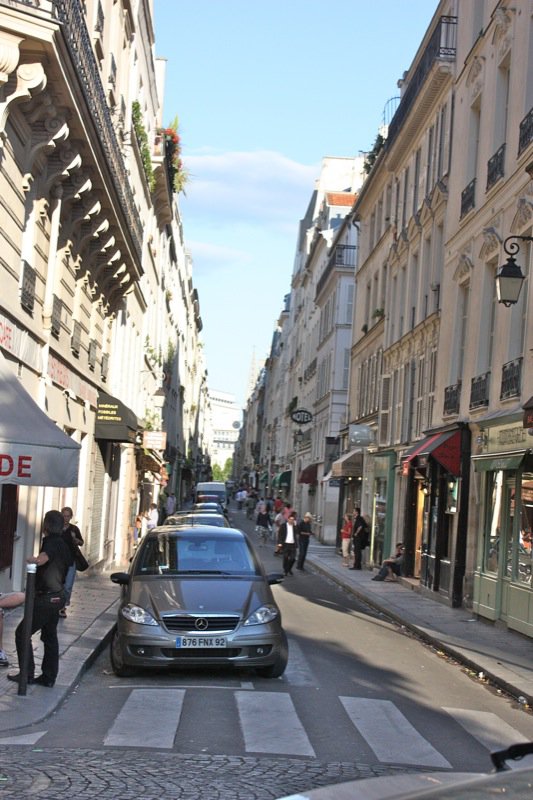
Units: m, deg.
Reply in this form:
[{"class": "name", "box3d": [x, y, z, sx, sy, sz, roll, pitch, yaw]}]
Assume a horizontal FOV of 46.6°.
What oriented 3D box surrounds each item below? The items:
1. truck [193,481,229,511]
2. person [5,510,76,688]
[{"class": "truck", "box3d": [-4.372, 6.851, 47.739, 2.342, 2.498, 4.581, -1, -13, -2]}, {"class": "person", "box3d": [-2.634, 2.403, 7.225, 0.662, 2.100, 1.083, -5, 12, -6]}]
